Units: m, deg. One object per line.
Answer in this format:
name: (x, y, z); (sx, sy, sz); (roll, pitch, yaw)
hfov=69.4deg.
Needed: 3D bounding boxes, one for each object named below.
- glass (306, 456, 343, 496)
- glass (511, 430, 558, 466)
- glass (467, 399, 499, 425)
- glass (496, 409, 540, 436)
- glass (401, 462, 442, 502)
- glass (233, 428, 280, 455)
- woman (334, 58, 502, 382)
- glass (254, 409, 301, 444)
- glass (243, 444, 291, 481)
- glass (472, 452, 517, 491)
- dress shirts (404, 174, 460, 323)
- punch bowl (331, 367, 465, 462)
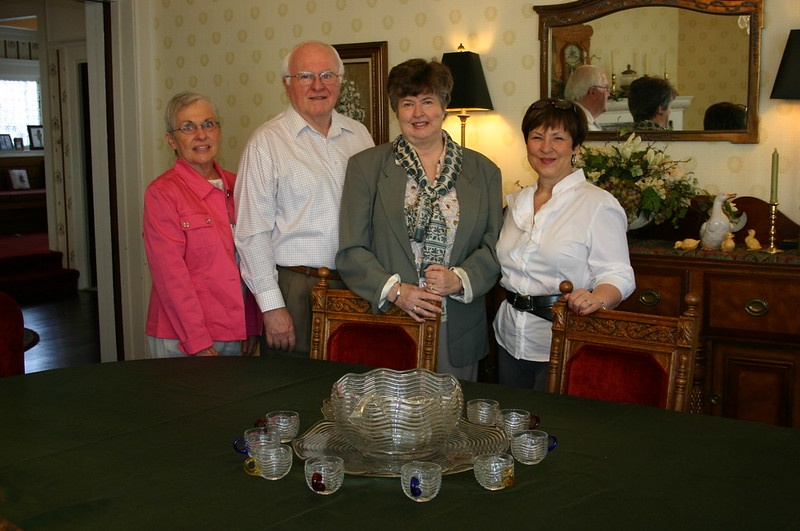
glass: (-0.191, 0.525, 1.455); (0.101, 0.080, 0.087); (-2, 15, -6)
glass: (0.363, 0.487, 1.555); (0.105, 0.066, 0.084); (-1, 0, 0)
glass: (0.251, 0.444, 1.752); (0.070, 0.050, 0.081); (4, 5, 22)
glass: (0.346, 0.452, 1.682); (0.099, 0.045, 0.063); (3, 0, -23)
glass: (0.053, 0.527, 1.412); (0.087, 0.065, 0.084); (-1, -1, 41)
glass: (-0.394, 0.479, 1.596); (0.104, 0.046, 0.072); (-4, 5, 17)
woman: (0.110, 0.050, 2.758); (0.736, 1.887, 0.661); (2, 22, 8)
glass: (-0.348, 0.461, 1.669); (0.103, 0.065, 0.076); (-2, -1, 29)
glass: (-0.353, 0.530, 1.552); (0.133, 0.078, 0.101); (0, 0, 23)
glass: (0.236, 0.533, 1.494); (0.103, 0.078, 0.106); (-3, 1, -29)
dress shirts: (0.139, -0.110, 2.481); (0.203, 0.703, 0.176); (2, -4, -3)
punch bowl: (-0.006, 0.391, 1.716); (0.286, 0.147, 0.317); (6, -17, -10)
